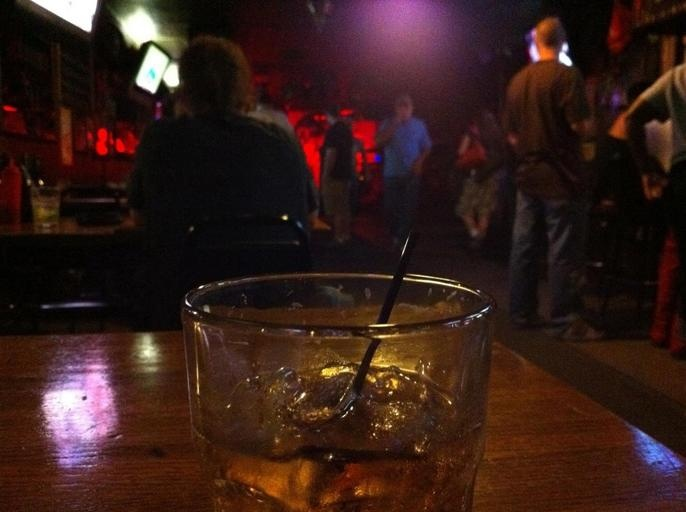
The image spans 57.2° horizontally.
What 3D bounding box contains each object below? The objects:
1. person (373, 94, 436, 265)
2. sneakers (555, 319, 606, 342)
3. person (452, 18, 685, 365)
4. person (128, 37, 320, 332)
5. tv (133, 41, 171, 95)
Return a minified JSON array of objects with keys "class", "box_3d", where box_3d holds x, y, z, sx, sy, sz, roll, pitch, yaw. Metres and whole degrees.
[{"class":"person","box_3d":[0.458,-0.641,5.025,0.410,1.216,0.672,8,10,12]},{"class":"sneakers","box_3d":[1.237,0.390,3.261,0.200,0.082,0.130,-4,1,-2]},{"class":"person","box_3d":[1.092,-0.278,3.264,0.621,1.383,0.370,8,11,12]},{"class":"person","box_3d":[-0.414,-0.214,2.276,0.700,1.083,0.637,-12,18,-43]},{"class":"tv","box_3d":[-1.437,-1.389,4.679,0.069,0.290,0.300,17,-7,24]}]
